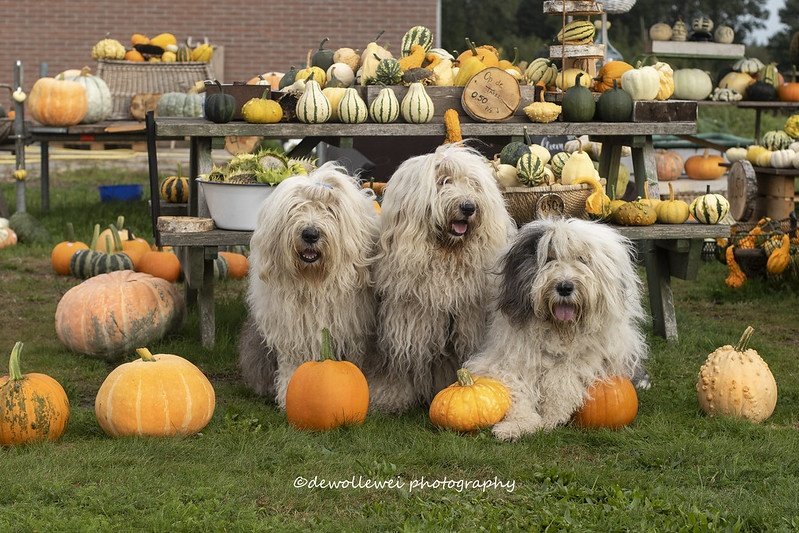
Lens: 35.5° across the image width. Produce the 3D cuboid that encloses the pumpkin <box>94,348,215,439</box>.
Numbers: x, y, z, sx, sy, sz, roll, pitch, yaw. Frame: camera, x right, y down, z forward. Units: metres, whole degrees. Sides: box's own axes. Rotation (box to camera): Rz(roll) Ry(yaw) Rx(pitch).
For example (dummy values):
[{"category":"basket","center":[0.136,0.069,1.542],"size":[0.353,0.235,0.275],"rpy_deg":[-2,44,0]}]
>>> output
[{"category":"pumpkin","center":[-2.072,1.047,10.874],"size":[0.765,0.633,0.801],"rpy_deg":[-3,-5,2]}]

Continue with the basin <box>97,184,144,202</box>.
[{"category":"basin","center":[-3.921,-1.036,17.662],"size":[0.440,0.170,0.299],"rpy_deg":[1,-2,-26]}]

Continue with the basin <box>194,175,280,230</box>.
[{"category":"basin","center":[-1.359,-0.577,11.947],"size":[0.928,0.454,0.918],"rpy_deg":[-1,5,0]}]

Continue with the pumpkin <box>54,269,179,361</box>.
[{"category":"pumpkin","center":[-2.707,0.370,12.042],"size":[0.847,0.507,0.913],"rpy_deg":[-7,9,-16]}]

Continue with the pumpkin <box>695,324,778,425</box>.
[{"category":"pumpkin","center":[3.004,1.005,11.105],"size":[0.568,0.796,0.592],"rpy_deg":[6,0,-39]}]

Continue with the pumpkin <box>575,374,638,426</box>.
[{"category":"pumpkin","center":[1.781,1.159,10.988],"size":[0.562,0.560,0.602],"rpy_deg":[-6,-5,18]}]

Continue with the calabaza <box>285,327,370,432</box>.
[{"category":"calabaza","center":[-0.649,1.029,10.959],"size":[0.687,0.966,0.709],"rpy_deg":[7,-4,-9]}]

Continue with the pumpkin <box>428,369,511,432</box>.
[{"category":"pumpkin","center":[0.594,1.185,10.643],"size":[0.531,0.406,0.549],"rpy_deg":[-11,7,35]}]
